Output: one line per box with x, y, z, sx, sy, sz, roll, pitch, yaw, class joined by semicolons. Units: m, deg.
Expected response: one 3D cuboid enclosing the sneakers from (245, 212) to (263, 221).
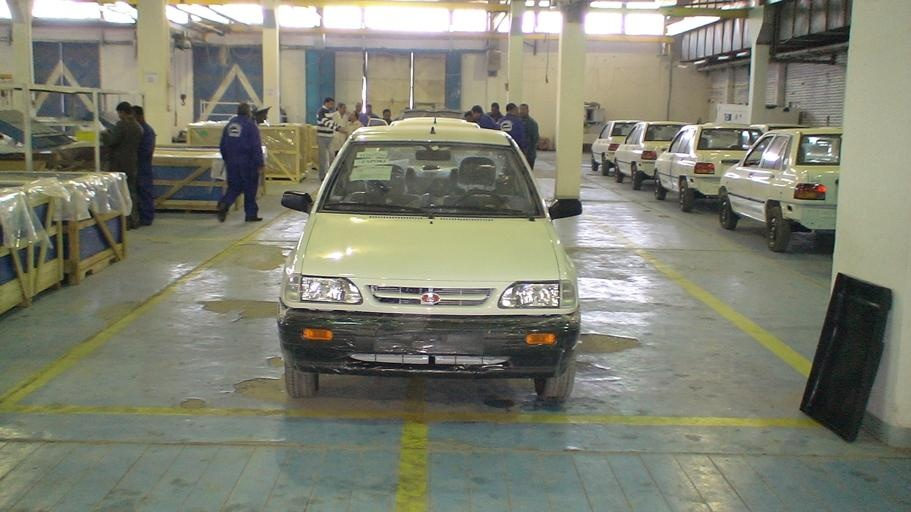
-4.297;-0.813;13.741;0.416;0.127;0.130;-1;10;-16;sneakers

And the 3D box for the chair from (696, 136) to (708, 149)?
5.842;-2.658;15.072;0.222;0.311;0.316;5;17;17;chair

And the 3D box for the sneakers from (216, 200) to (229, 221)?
-4.883;-0.944;13.482;0.214;0.445;0.222;17;-8;-2;sneakers

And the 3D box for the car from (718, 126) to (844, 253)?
6.354;-1.318;12.203;1.638;2.202;3.193;1;16;4;car

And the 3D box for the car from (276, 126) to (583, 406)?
-0.253;0.060;6.289;2.644;1.833;1.707;-1;17;-1;car
